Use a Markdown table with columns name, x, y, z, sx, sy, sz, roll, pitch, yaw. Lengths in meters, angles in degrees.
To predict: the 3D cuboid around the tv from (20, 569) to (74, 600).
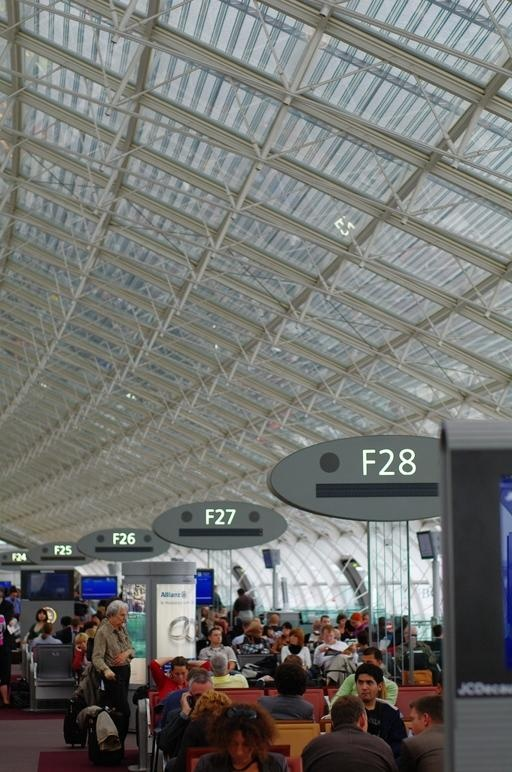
| name | x | y | z | sx | sy | sz | roll | pitch | yaw |
| --- | --- | --- | --- | --- | --- | --- | --- | --- | --- |
| tv | -7.221 | 6.908 | 23.387 | 2.081 | 1.012 | 1.247 | 0 | -1 | -5 |

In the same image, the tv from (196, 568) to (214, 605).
| name | x | y | z | sx | sy | sz | roll | pitch | yaw |
| --- | --- | --- | --- | --- | --- | --- | --- | --- | --- |
| tv | -2.307 | 9.015 | 30.369 | 0.706 | 1.621 | 0.841 | -2 | -11 | 1 |

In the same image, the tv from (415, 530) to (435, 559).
| name | x | y | z | sx | sy | sz | roll | pitch | yaw |
| --- | --- | --- | --- | --- | --- | --- | --- | --- | --- |
| tv | 4.816 | 4.531 | 19.261 | 0.399 | 0.779 | 1.118 | -4 | -11 | 12 |

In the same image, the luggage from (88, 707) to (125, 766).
| name | x | y | z | sx | sy | sz | roll | pitch | yaw |
| --- | --- | --- | --- | --- | --- | --- | --- | --- | --- |
| luggage | -2.132 | 5.000 | 9.624 | 0.467 | 0.819 | 0.371 | 1 | -12 | -14 |
